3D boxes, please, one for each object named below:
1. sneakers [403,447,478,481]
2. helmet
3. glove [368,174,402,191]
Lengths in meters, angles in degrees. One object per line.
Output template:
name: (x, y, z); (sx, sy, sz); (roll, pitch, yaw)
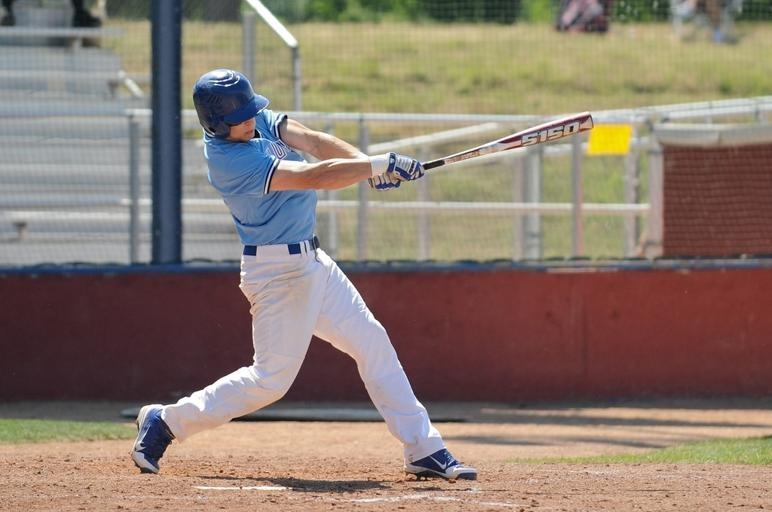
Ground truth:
sneakers: (0.472, 1.678, 15.603); (0.668, 0.256, 0.231); (1, -8, 10)
helmet: (-1.270, -1.277, 15.457); (0.625, 0.434, 0.450); (-2, 15, 10)
glove: (-0.005, -0.623, 15.444); (0.163, 0.058, 0.153); (-5, -27, 1)
